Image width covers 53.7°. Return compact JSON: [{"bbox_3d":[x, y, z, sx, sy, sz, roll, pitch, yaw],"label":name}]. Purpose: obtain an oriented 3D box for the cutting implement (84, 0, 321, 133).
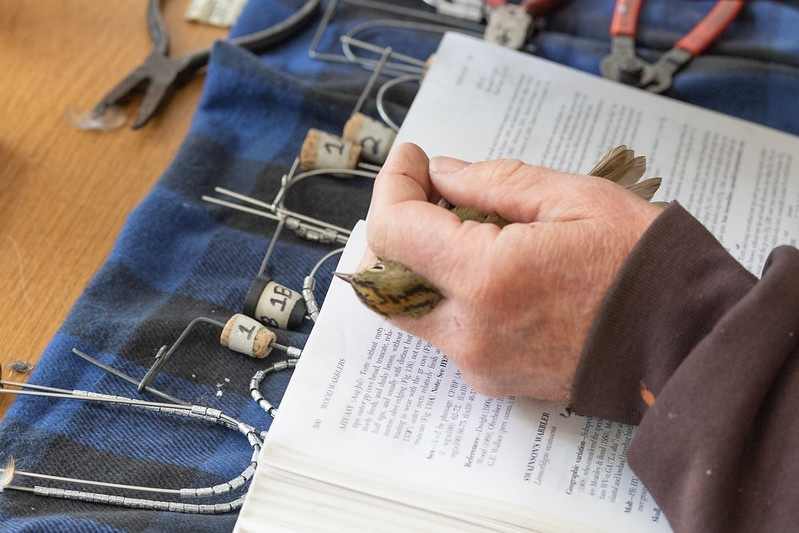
[{"bbox_3d":[-0.432,-0.485,1.580,0.226,0.022,0.406,30,61,16],"label":"cutting implement"}]
